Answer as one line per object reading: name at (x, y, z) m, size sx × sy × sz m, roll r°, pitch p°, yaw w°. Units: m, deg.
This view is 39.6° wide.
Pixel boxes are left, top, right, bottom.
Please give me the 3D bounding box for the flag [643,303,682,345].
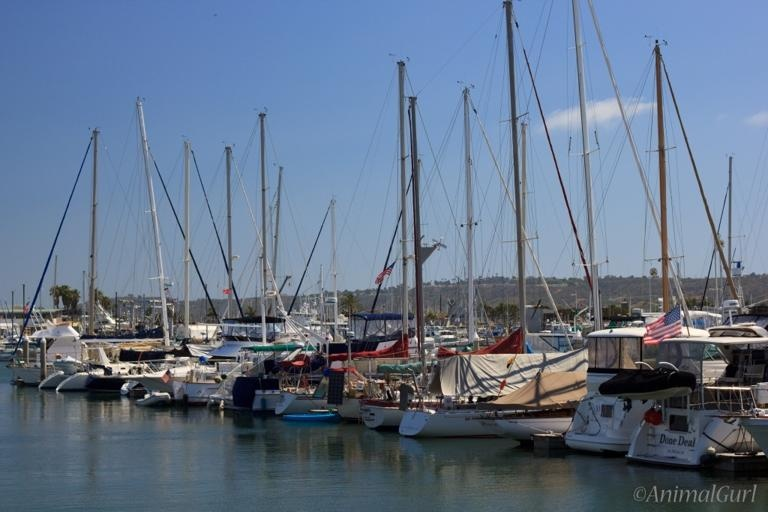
flag at (13.269, 3.315, 50.856) m, size 2.361 × 0.331 × 2.383 m, roll -36°, pitch 4°, yaw 4°
